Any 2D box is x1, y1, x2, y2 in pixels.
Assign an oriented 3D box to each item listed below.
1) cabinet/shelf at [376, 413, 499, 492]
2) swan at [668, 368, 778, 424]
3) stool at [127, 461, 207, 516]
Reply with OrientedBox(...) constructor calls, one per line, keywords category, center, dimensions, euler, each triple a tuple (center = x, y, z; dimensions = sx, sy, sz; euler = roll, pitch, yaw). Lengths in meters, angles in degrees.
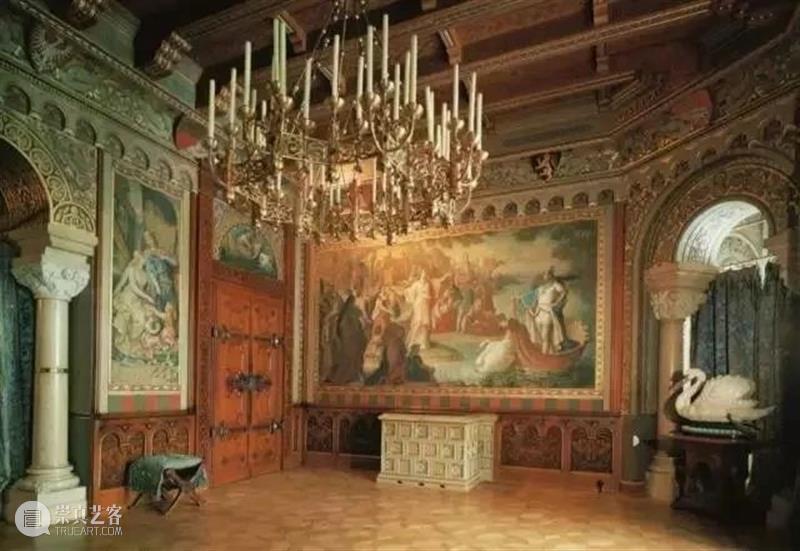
OrientedBox(category="cabinet/shelf", center=(0.674, 3.231, 13.578), dimensions=(2.171, 1.359, 0.916), euler=(0, -10, 6))
OrientedBox(category="swan", center=(5.193, 1.972, 11.942), dimensions=(0.722, 0.982, 1.492), euler=(25, -24, -39))
OrientedBox(category="stool", center=(-3.687, 3.355, 11.884), dimensions=(0.800, 0.876, 1.133), euler=(-6, -13, 33))
